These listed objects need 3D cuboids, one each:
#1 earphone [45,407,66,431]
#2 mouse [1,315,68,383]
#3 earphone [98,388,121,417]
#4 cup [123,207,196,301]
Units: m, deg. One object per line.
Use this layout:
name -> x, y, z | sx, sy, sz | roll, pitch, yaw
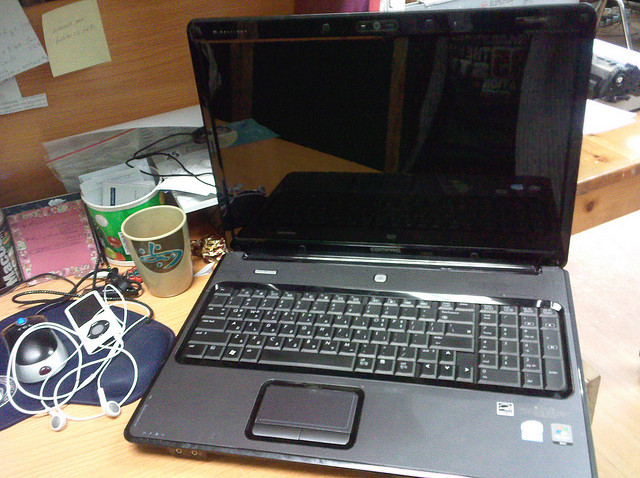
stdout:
earphone -> -0.347, 0.238, 0.680 | 0.016, 0.007, 0.022 | -44, 67, -6
mouse -> -0.403, 0.159, 0.732 | 0.086, 0.045, 0.069 | 26, 31, 36
earphone -> -0.282, 0.215, 0.693 | 0.020, 0.015, 0.034 | -17, 49, -27
cup -> -0.249, 0.026, 0.844 | 0.090, 0.108, 0.111 | -2, 20, 6
